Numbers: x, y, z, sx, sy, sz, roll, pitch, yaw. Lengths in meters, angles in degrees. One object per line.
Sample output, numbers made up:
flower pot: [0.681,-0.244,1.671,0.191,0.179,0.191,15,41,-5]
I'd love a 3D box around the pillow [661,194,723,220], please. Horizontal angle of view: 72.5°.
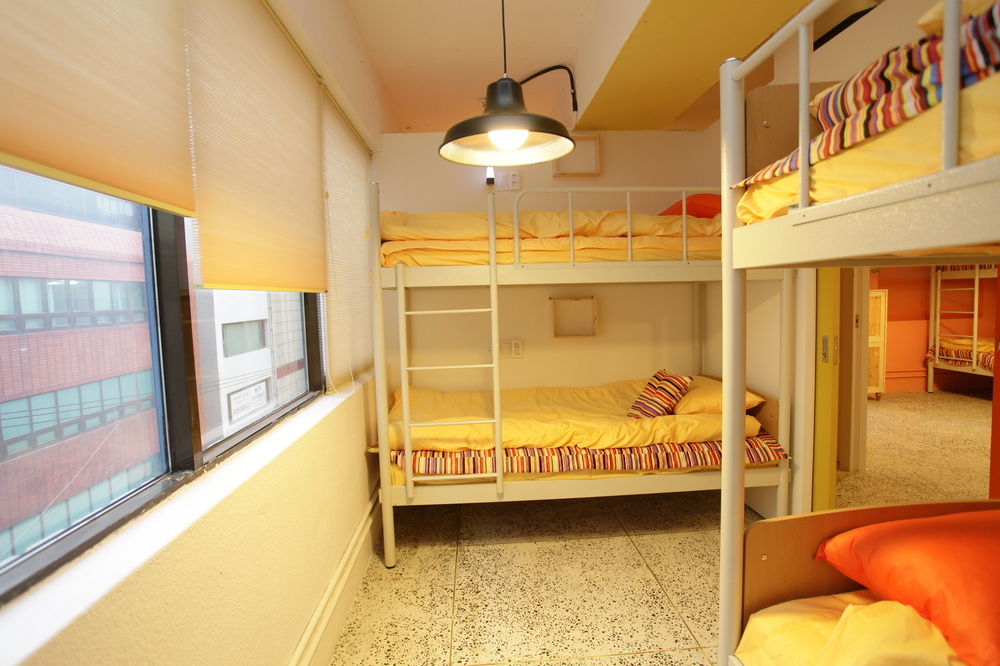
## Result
pillow: [1.171,-0.729,4.035,0.258,0.078,0.274,-1,3,4]

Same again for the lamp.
lamp: [0.004,-1.226,3.322,0.571,0.920,1.346,-2,3,-2]

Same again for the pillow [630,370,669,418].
pillow: [0.867,0.368,3.971,0.241,0.072,0.246,-39,17,31]

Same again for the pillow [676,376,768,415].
pillow: [1.225,0.377,3.904,0.262,0.097,0.395,-4,5,9]

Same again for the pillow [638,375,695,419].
pillow: [0.989,0.410,4.026,0.259,0.076,0.279,-52,20,-28]

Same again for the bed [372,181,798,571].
bed: [0.426,0.291,3.721,2.553,2.080,1.465,0,-1,-7]
